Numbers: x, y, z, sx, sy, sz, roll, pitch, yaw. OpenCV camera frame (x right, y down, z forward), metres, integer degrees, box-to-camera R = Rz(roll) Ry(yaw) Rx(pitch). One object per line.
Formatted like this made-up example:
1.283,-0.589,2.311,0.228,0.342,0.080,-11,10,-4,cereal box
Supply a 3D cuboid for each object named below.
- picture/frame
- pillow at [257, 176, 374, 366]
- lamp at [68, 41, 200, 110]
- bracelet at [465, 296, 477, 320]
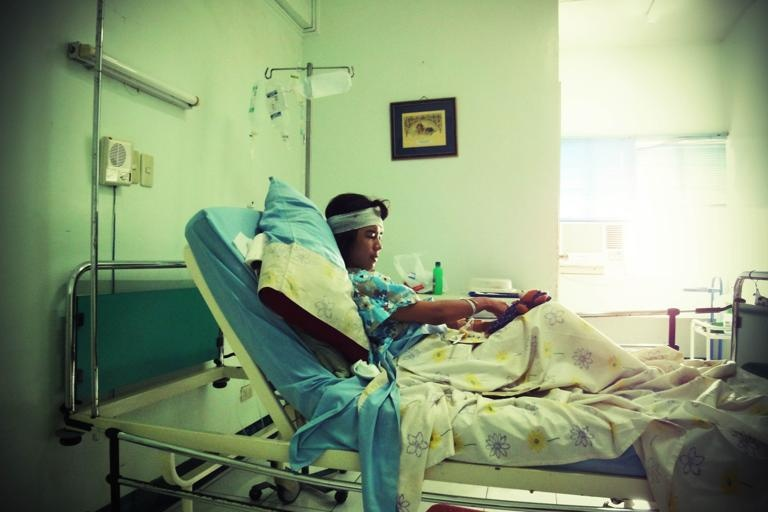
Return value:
0.319,-0.983,4.677,0.502,0.420,0.047,-1,4,16,picture/frame
-0.377,0.101,3.079,0.278,0.829,0.566,-29,-19,27,pillow
-1.403,-0.997,3.506,0.142,0.185,0.712,-43,-27,23,lamp
0.478,0.275,3.327,0.059,0.128,0.107,0,-22,3,bracelet
